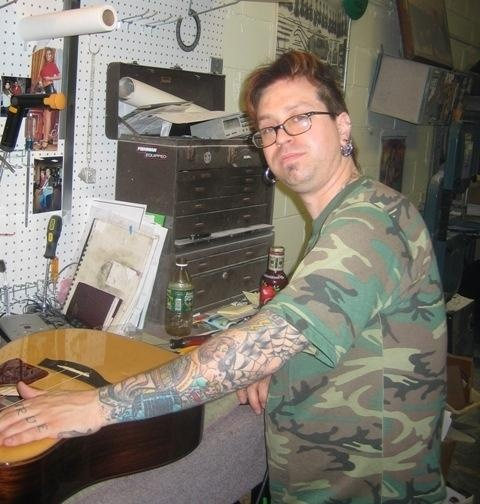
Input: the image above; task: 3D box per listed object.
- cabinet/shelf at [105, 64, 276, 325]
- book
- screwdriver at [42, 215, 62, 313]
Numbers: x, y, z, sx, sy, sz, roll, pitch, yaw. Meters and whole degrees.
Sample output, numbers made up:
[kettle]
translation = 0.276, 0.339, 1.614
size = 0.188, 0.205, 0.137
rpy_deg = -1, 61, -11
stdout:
[cabinet/shelf]
translation = -0.254, -0.263, 1.935
size = 0.698, 0.940, 0.688
rpy_deg = -5, 12, -41
[book]
translation = -0.365, 0.070, 1.562
size = 0.423, 0.418, 0.100
rpy_deg = 14, 1, 38
[screwdriver]
translation = -0.659, 0.049, 1.525
size = 0.036, 0.352, 0.073
rpy_deg = 9, 0, -34
